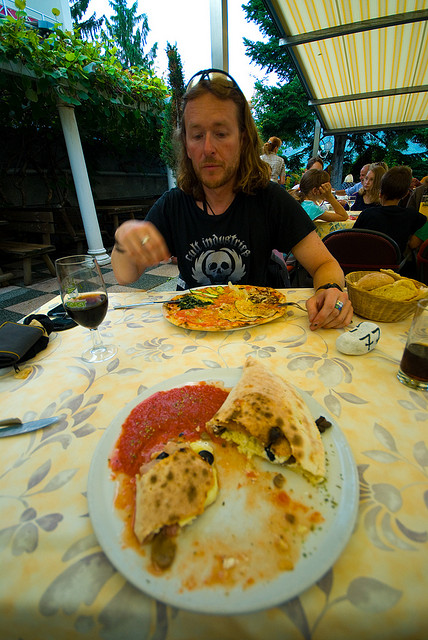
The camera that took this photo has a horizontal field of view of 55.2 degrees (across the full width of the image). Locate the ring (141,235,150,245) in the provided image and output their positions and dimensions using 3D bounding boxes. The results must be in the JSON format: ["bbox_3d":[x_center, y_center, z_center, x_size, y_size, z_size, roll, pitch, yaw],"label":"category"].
[{"bbox_3d":[-0.235,-0.274,1.397,0.029,0.007,0.029,-36,19,14],"label":"ring"}]

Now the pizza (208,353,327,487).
[{"bbox_3d":[0.098,0.187,0.849,0.216,0.070,0.343,4,29,-16],"label":"pizza"}]

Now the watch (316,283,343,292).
[{"bbox_3d":[0.430,-0.119,1.503,0.048,0.013,0.048,-12,17,-35],"label":"watch"}]

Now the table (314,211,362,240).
[{"bbox_3d":[1.240,-0.958,4.102,0.363,0.244,0.403,-16,25,-20],"label":"table"}]

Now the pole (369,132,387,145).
[{"bbox_3d":[6.799,-7.455,16.892,0.378,0.449,0.870,-5,23,5],"label":"pole"}]

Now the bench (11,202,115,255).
[{"bbox_3d":[-2.364,-1.418,6.405,0.736,0.922,1.710,-27,44,-33],"label":"bench"}]

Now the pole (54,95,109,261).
[{"bbox_3d":[-1.709,-1.703,5.326,0.278,2.060,0.667,-14,24,-14],"label":"pole"}]

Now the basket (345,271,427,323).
[{"bbox_3d":[0.538,-0.069,1.288,0.183,0.081,0.175,-5,41,-16],"label":"basket"}]

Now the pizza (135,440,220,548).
[{"bbox_3d":[-0.056,0.282,0.703,0.142,0.060,0.215,2,26,14],"label":"pizza"}]
